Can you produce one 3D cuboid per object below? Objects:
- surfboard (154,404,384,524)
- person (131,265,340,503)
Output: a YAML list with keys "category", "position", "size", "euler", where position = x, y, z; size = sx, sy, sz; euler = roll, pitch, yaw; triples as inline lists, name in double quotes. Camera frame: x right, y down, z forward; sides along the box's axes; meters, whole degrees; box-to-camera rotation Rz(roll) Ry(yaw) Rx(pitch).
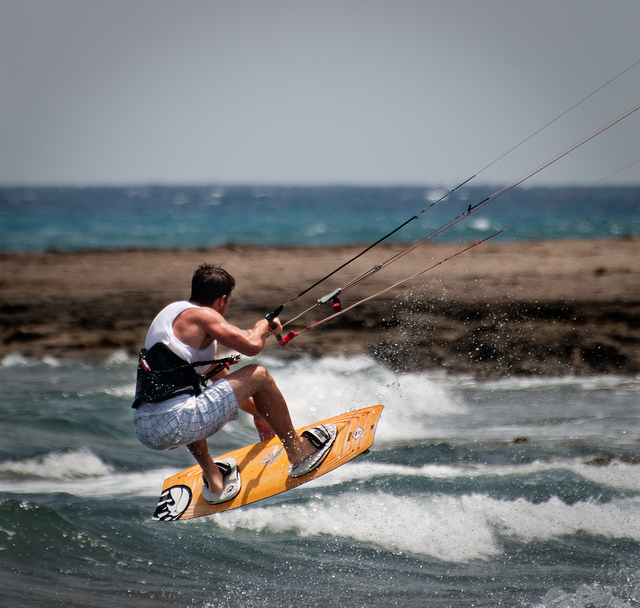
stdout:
- category: "surfboard"
  position: [0.112, 1.335, 6.653]
  size: [2.611, 0.608, 0.274]
  euler: [-14, -43, 7]
- category: "person"
  position: [-0.630, 0.621, 6.076]
  size: [0.779, 1.832, 1.205]
  euler: [16, 18, 37]
